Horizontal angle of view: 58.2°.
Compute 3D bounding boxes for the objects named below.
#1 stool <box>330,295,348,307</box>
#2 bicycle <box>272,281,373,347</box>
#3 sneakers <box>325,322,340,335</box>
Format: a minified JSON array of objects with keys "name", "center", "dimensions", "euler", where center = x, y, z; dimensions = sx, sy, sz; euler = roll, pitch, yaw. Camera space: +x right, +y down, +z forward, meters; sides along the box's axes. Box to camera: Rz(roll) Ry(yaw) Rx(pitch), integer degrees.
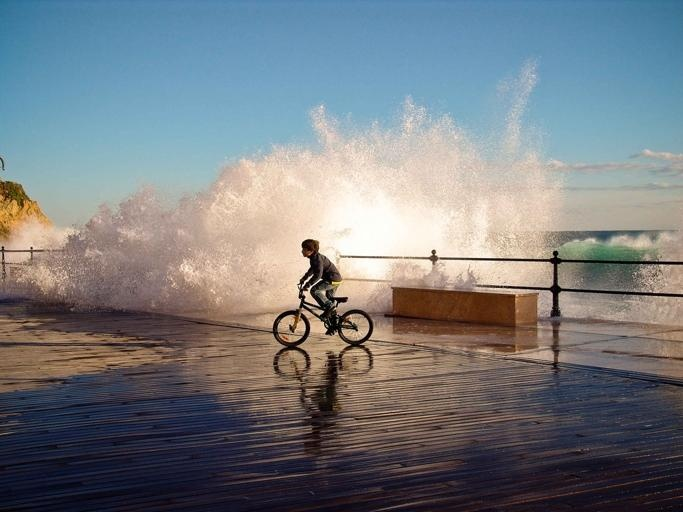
[{"name":"stool","center":[-0.062,0.784,10.792],"dimensions":[0.375,0.235,0.198],"euler":[2,34,2]},{"name":"bicycle","center":[-0.312,1.183,11.229],"dimensions":[1.839,1.146,0.917],"euler":[0,-7,-4]},{"name":"sneakers","center":[-0.178,1.304,10.899],"dimensions":[0.280,0.177,0.142],"euler":[-14,2,42]}]
